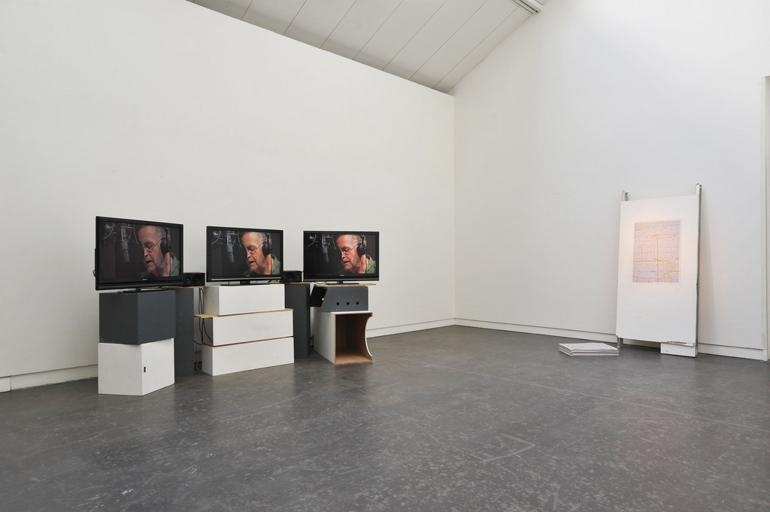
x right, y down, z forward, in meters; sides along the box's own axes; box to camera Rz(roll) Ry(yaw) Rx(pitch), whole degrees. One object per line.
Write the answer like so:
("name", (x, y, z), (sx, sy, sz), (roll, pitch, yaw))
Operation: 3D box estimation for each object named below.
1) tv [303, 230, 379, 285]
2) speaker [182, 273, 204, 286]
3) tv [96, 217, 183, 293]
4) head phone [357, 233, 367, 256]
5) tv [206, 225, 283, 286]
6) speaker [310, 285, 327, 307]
("tv", (-0.649, 0.003, 7.487), (1.135, 0.825, 0.239), (-1, 11, -7))
("speaker", (-2.509, 0.312, 6.604), (0.286, 0.162, 0.182), (3, -4, -35))
("tv", (-2.937, -0.012, 5.957), (0.097, 0.700, 0.921), (-1, 0, 39))
("head phone", (-0.343, -0.162, 7.605), (0.191, 0.268, 0.190), (0, -2, -11))
("tv", (-1.939, -0.001, 6.820), (0.790, 0.580, 0.236), (0, -3, -37))
("speaker", (-1.013, 0.589, 7.473), (0.121, 0.378, 0.413), (-6, 12, -34))
